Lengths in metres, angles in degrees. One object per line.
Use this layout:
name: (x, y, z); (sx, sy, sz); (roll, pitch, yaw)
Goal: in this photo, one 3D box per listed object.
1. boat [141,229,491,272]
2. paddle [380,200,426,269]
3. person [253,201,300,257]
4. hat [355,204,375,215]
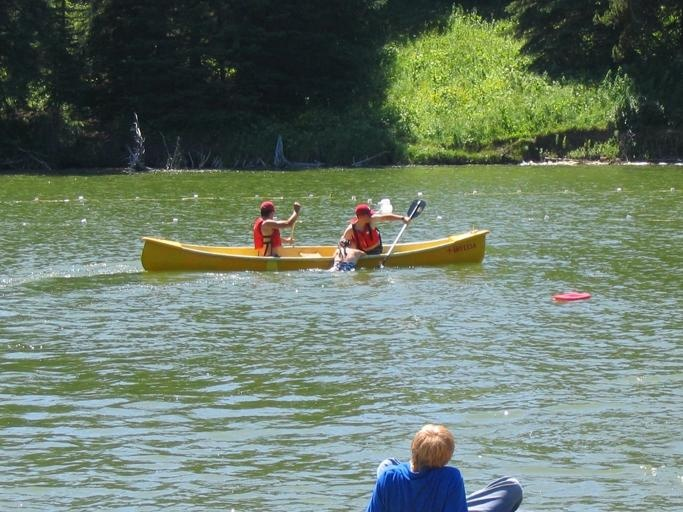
boat: (-0.827, -0.209, 44.033); (10.313, 1.298, 1.915); (-1, 4, 15)
paddle: (1.653, -0.540, 44.421); (0.936, 1.968, 1.073); (16, 22, 40)
person: (-1.792, -0.696, 44.899); (0.915, 1.795, 0.888); (27, 40, 36)
hat: (0.635, -1.226, 43.502); (0.376, 0.297, 0.587); (1, 0, 15)
